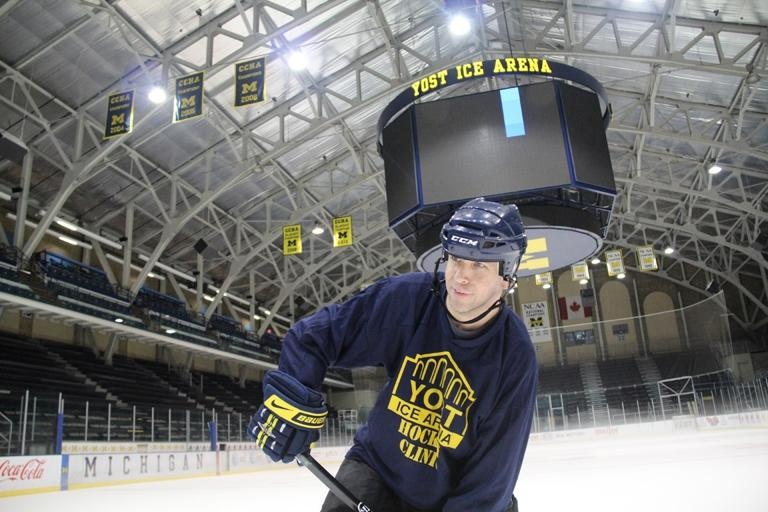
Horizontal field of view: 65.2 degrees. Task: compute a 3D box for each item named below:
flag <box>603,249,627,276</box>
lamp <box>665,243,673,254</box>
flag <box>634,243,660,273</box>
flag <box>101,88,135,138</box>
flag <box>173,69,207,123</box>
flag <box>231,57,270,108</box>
[{"bbox_3d":[11.903,0.305,30.927,0.761,1.664,1.858,-9,-18,19],"label":"flag"},{"bbox_3d":[16.960,-0.390,35.623,0.475,0.511,0.123,-26,17,9],"label":"lamp"},{"bbox_3d":[13.391,0.086,30.570,0.761,1.633,2.074,-12,-20,27],"label":"flag"},{"bbox_3d":[-8.051,-4.300,18.410,0.963,1.431,0.318,-8,-18,15],"label":"flag"},{"bbox_3d":[-5.990,-4.872,18.485,1.048,1.429,0.295,-8,-18,16],"label":"flag"},{"bbox_3d":[-4.068,-5.274,18.435,1.033,1.590,0.325,-9,-18,18],"label":"flag"}]
